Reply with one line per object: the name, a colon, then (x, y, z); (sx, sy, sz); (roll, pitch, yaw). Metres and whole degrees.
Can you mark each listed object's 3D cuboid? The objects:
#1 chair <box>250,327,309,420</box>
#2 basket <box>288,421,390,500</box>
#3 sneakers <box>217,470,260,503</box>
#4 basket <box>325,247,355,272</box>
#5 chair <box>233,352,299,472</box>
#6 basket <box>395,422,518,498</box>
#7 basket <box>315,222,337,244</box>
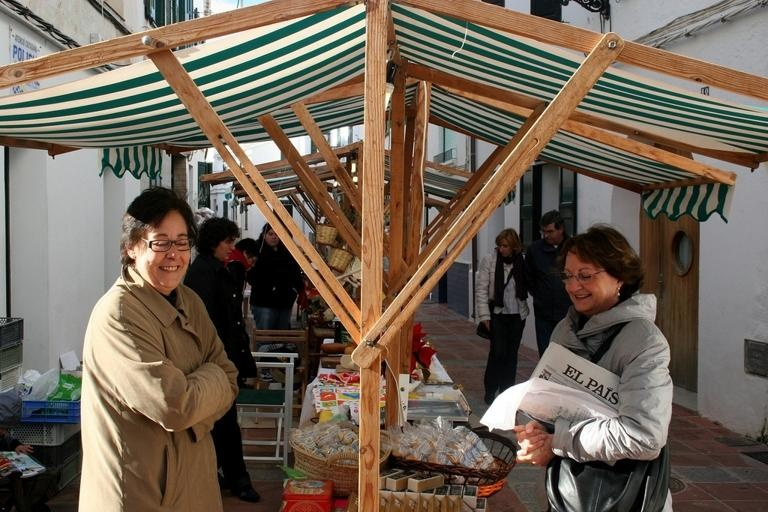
chair: (-1.193, 1.367, 8.583); (0.639, 1.321, 0.922); (0, 22, -3)
basket: (-0.382, 1.537, 5.680); (0.705, 0.487, 0.457); (-2, -9, 33)
sneakers: (-1.352, 2.136, 7.056); (0.545, 0.250, 0.188); (5, 6, 39)
basket: (-0.484, 0.044, 8.356); (0.229, 0.199, 0.262); (2, -28, 14)
chair: (-1.196, 1.566, 8.049); (0.551, 0.694, 0.713); (-19, -7, 3)
basket: (0.557, 1.580, 5.580); (0.681, 0.227, 0.667); (9, -6, -43)
basket: (-0.668, -0.248, 8.800); (0.247, 0.248, 0.288); (4, -8, -7)
